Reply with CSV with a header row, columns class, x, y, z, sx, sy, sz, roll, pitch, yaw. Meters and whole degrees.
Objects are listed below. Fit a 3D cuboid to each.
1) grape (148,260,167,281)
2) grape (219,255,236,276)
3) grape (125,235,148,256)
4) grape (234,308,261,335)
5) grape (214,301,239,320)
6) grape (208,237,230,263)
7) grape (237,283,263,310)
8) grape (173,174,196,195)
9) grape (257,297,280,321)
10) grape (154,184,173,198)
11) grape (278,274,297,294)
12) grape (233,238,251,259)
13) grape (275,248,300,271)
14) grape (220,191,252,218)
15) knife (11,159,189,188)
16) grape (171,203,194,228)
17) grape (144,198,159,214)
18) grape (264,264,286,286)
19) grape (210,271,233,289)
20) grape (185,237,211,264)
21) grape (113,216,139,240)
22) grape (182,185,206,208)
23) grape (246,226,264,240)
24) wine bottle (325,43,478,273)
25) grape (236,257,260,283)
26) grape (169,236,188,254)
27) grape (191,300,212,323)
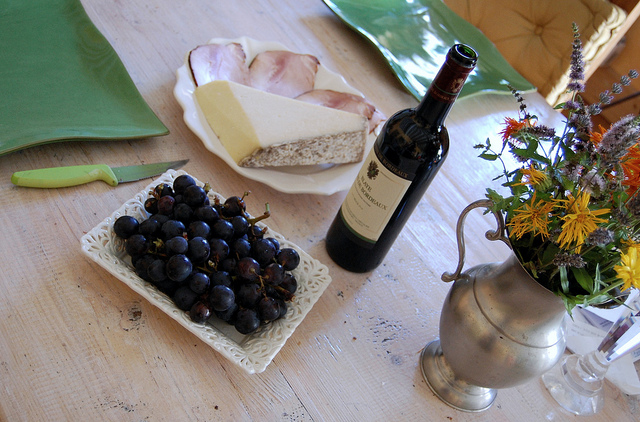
class,x,y,z,sx,sy,sz,roll,pitch,yaw
grape,-0.300,0.110,1.113,0.027,0.031,0.031,-17,56,-34
grape,-0.173,0.101,1.133,0.024,0.034,0.020,-1,77,-3
grape,-0.345,0.065,1.130,0.040,0.032,0.031,3,47,-20
grape,-0.136,0.206,1.120,0.050,0.040,0.046,1,82,-57
grape,-0.170,0.184,1.127,0.032,0.032,0.019,-19,99,-37
grape,-0.188,0.071,1.131,0.037,0.048,0.040,0,10,13
grape,-0.132,0.159,1.125,0.044,0.056,0.046,23,34,-22
grape,-0.271,-0.056,1.223,0.037,0.040,0.043,33,20,28
grape,-0.091,0.183,1.155,0.038,0.040,0.047,-20,31,8
grape,-0.307,-0.041,1.188,0.027,0.022,0.025,0,7,19
grape,-0.061,0.140,1.159,0.027,0.017,0.036,-10,57,-29
grape,-0.147,0.070,1.147,0.029,0.031,0.038,-6,84,1
grape,-0.063,0.093,1.169,0.038,0.048,0.041,-18,92,-6
grape,-0.162,-0.017,1.192,0.034,0.035,0.057,41,72,-25
knife,-0.452,-0.075,1.285,0.364,0.066,0.036,-5,92,-26
grape,-0.273,0.001,1.172,0.037,0.041,0.038,20,16,31
grape,-0.331,-0.010,1.183,0.023,0.026,0.029,-4,49,-25
grape,-0.085,0.121,1.146,0.044,0.033,0.028,9,45,-15
grape,-0.186,0.126,1.122,0.035,0.031,0.033,-8,89,-1
grape,-0.230,0.071,1.137,0.052,0.066,0.052,0,21,-17
grape,-0.368,0.032,1.147,0.044,0.036,0.034,2,47,-21
grape,-0.242,-0.030,1.172,0.037,0.049,0.040,1,10,2
grape,-0.129,0.039,1.173,0.023,0.013,0.024,-32,80,-21
wine bottle,0.158,-0.093,1.188,0.138,0.526,0.147,14,44,-14
grape,-0.137,0.109,1.122,0.043,0.053,0.044,-39,81,-13
grape,-0.264,0.070,1.136,0.028,0.033,0.029,-35,93,-18
grape,-0.218,0.185,1.108,0.036,0.036,0.035,39,88,-6
